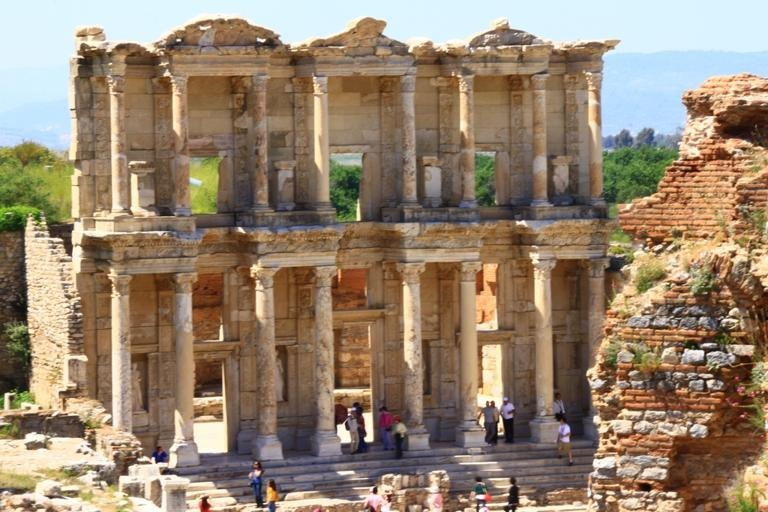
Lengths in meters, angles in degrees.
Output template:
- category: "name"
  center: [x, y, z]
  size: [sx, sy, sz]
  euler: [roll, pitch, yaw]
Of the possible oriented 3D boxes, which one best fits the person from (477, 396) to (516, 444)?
- category: "person"
  center: [3.641, 5.310, 58.872]
  size: [1.737, 1.635, 0.663]
  euler: [1, -16, -9]
